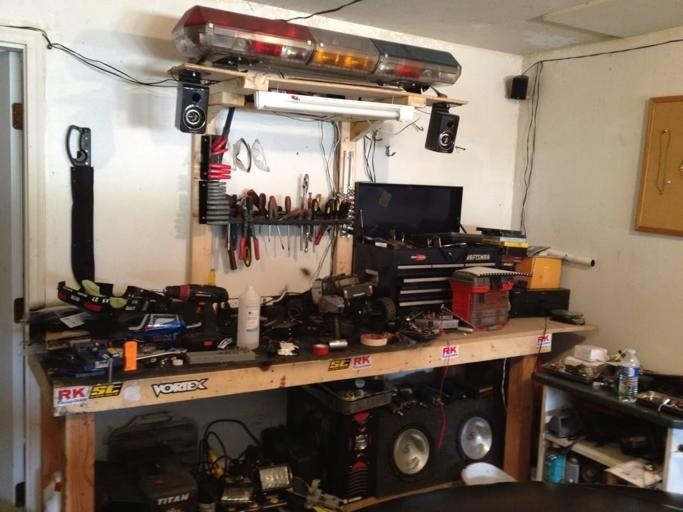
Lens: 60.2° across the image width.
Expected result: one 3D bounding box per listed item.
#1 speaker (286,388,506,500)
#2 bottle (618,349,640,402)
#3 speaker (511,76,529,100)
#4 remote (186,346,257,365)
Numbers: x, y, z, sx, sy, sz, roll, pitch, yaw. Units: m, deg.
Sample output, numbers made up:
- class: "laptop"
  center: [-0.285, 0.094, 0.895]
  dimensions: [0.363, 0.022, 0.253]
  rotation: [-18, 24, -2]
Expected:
- class: "speaker"
  center: [0.268, 1.115, 3.485]
  dimensions: [0.742, 0.324, 0.387]
  rotation: [0, 0, -29]
- class: "bottle"
  center: [1.609, 0.665, 3.293]
  dimensions: [0.103, 0.255, 0.166]
  rotation: [3, 8, 24]
- class: "speaker"
  center: [1.318, -1.250, 4.352]
  dimensions: [0.151, 0.192, 0.118]
  rotation: [6, 13, 7]
- class: "remote"
  center: [-0.608, 0.501, 2.956]
  dimensions: [0.247, 0.032, 0.114]
  rotation: [-2, 6, -20]
